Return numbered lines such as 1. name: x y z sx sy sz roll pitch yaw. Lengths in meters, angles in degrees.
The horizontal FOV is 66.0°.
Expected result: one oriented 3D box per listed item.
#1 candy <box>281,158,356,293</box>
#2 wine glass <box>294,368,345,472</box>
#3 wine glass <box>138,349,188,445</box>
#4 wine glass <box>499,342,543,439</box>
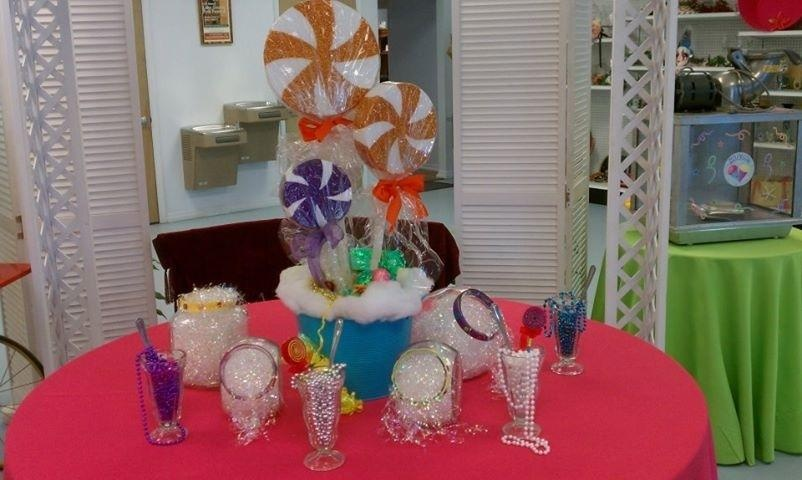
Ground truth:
1. candy: -0.304 -0.066 2.249 0.258 0.459 0.173 -3 11 -5
2. wine glass: -0.259 0.556 2.015 0.154 0.311 0.188 -4 11 -10
3. wine glass: -0.833 0.505 2.156 0.139 0.306 0.296 -7 13 -26
4. wine glass: 0.409 0.498 2.122 0.137 0.277 0.211 0 12 12
